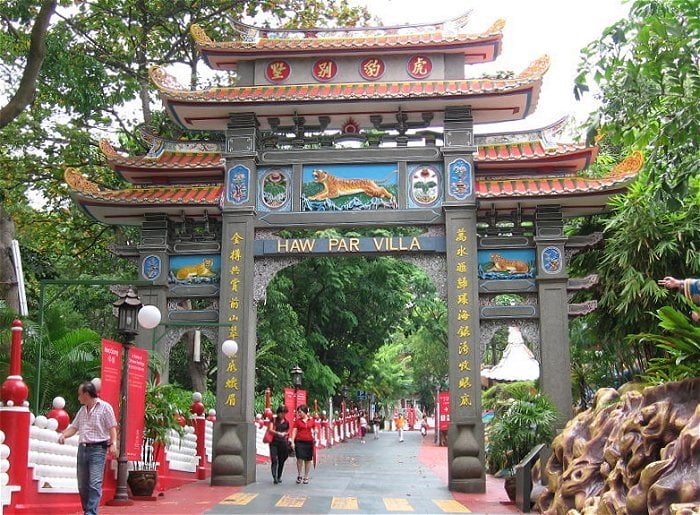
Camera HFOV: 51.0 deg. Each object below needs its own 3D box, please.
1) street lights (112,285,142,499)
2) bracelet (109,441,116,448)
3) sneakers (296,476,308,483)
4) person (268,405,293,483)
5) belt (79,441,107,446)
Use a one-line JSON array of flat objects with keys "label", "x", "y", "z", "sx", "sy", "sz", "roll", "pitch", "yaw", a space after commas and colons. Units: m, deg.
[{"label": "street lights", "x": -3.905, "y": 2.317, "z": 12.736, "sx": 0.400, "sy": 3.655, "sz": 0.517, "roll": -1, "pitch": -13, "yaw": 1}, {"label": "bracelet", "x": -3.266, "y": 2.562, "z": 10.116, "sx": 0.082, "sy": 0.071, "sz": 0.082, "roll": 3, "pitch": 3, "yaw": 29}, {"label": "sneakers", "x": -1.026, "y": 4.727, "z": 15.728, "sx": 0.193, "sy": 0.111, "sz": 0.305, "roll": 3, "pitch": -20, "yaw": -5}, {"label": "person", "x": -1.541, "y": 4.087, "z": 16.153, "sx": 0.503, "sy": 1.580, "sz": 1.220, "roll": 0, "pitch": -13, "yaw": -4}, {"label": "belt", "x": -3.562, "y": 2.580, "z": 10.167, "sx": 0.362, "sy": 0.085, "sz": 0.141, "roll": 4, "pitch": -14, "yaw": -19}]
